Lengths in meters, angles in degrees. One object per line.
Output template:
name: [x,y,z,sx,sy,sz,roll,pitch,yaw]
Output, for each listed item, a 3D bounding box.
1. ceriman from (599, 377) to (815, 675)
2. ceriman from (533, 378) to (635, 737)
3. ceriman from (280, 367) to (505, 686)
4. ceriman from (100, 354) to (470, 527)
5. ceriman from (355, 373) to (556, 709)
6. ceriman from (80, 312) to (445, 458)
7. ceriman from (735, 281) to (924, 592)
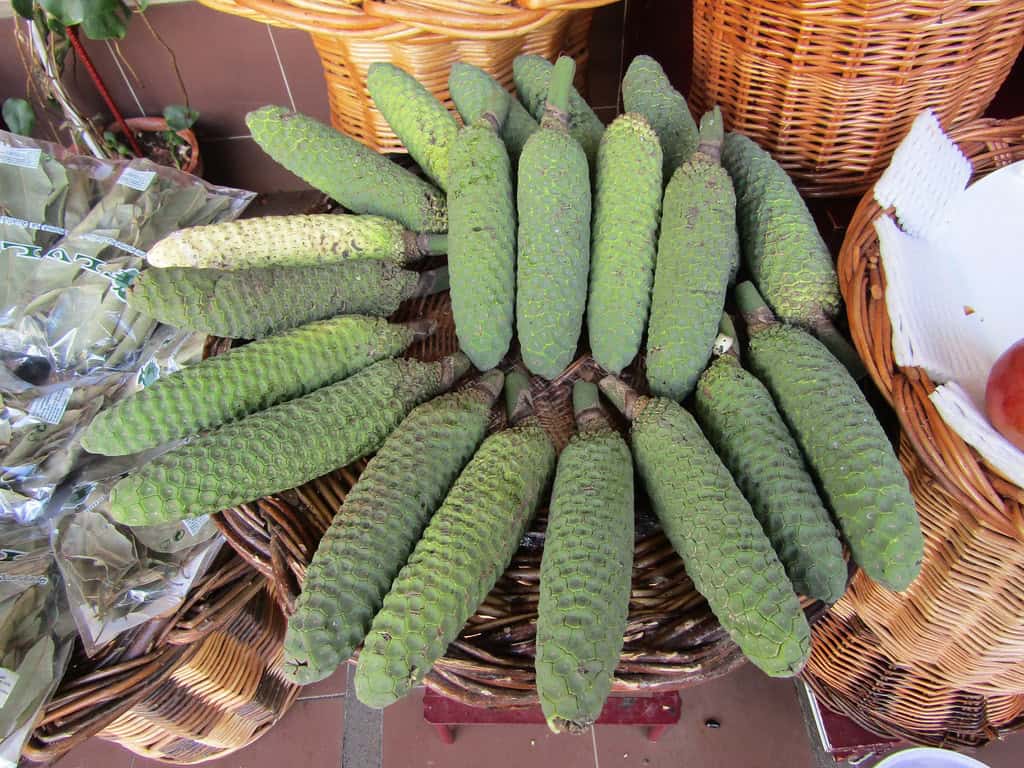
ceriman: [0.207,0.147,0.783,0.101,0.102,0.402,-32,49,5]
ceriman: [0.081,0.170,0.793,0.081,0.090,0.364,13,60,-4]
ceriman: [-0.126,0.154,0.772,0.381,0.092,0.097,-46,24,2]
ceriman: [-0.237,0.065,0.812,0.353,0.088,0.087,-20,-1,-20]
ceriman: [0.011,0.128,0.822,0.115,0.119,0.453,23,68,24]
ceriman: [-0.276,0.003,0.856,0.382,0.084,0.075,-20,5,-20]
ceriman: [0.342,0.066,0.814,0.109,0.104,0.390,-13,52,7]
